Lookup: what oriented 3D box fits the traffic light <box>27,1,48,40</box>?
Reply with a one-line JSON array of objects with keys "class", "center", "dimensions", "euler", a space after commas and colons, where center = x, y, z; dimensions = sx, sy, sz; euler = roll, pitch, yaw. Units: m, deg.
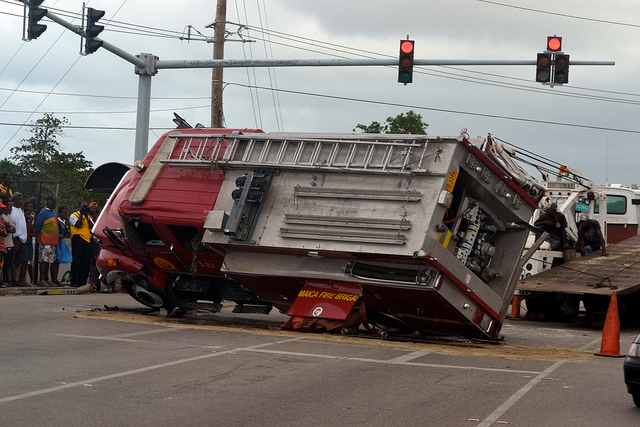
[{"class": "traffic light", "center": [-7.512, -5.172, 14.438], "dimensions": [0.481, 0.937, 0.416], "euler": [12, -6, -37]}]

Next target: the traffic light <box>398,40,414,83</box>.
[{"class": "traffic light", "center": [2.606, -4.688, 16.799], "dimensions": [0.486, 1.411, 0.514], "euler": [8, -5, 6]}]

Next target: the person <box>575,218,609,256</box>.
[{"class": "person", "center": [8.249, 0.725, 16.655], "dimensions": [0.861, 1.168, 1.077], "euler": [6, -5, 23]}]

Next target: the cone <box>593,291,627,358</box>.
[{"class": "cone", "center": [5.395, 2.062, 10.098], "dimensions": [0.485, 1.163, 0.585], "euler": [5, -6, 35]}]

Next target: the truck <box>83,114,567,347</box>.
[{"class": "truck", "center": [0.720, 0.779, 12.414], "dimensions": [10.555, 4.439, 4.456], "euler": [5, -20, 22]}]

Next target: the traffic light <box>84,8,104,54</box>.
[{"class": "traffic light", "center": [-6.590, -5.330, 15.836], "dimensions": [0.551, 1.094, 0.480], "euler": [10, -6, -23]}]

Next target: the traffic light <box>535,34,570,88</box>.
[{"class": "traffic light", "center": [6.915, -4.482, 16.238], "dimensions": [0.902, 1.475, 0.688], "euler": [7, -5, 10]}]

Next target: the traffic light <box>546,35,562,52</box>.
[{"class": "traffic light", "center": [6.849, -4.965, 16.063], "dimensions": [0.372, 0.552, 0.713], "euler": [6, -4, 20]}]
